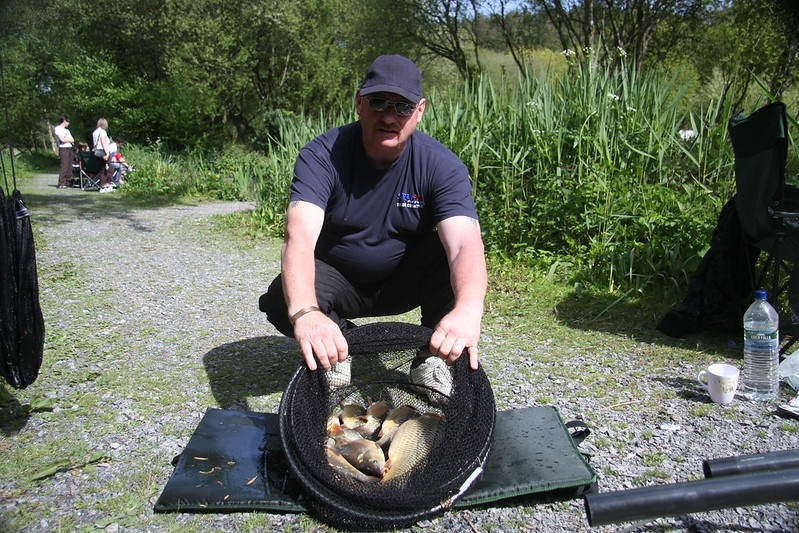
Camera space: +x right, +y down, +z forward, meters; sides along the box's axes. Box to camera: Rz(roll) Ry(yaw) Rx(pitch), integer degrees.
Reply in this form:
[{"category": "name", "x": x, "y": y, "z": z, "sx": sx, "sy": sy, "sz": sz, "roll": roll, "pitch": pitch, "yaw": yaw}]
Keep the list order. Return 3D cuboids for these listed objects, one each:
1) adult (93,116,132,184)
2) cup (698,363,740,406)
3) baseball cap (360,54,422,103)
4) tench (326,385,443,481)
[{"category": "adult", "x": -7.232, "y": -2.760, "z": 14.749, "sx": 0.670, "sy": 1.793, "sz": 1.136, "roll": -2, "pitch": -1, "yaw": 35}, {"category": "cup", "x": 2.115, "y": 0.765, "z": 3.903, "sx": 0.198, "sy": 0.210, "sz": 0.225, "roll": 1, "pitch": 16, "yaw": 9}, {"category": "baseball cap", "x": -0.054, "y": -1.129, "z": 3.530, "sx": 0.365, "sy": 0.290, "sz": 0.283, "roll": -1, "pitch": 15, "yaw": 0}, {"category": "tench", "x": -0.100, "y": 0.942, "z": 3.214, "sx": 0.406, "sy": 0.123, "sz": 0.406, "roll": 11, "pitch": 24, "yaw": 32}]
